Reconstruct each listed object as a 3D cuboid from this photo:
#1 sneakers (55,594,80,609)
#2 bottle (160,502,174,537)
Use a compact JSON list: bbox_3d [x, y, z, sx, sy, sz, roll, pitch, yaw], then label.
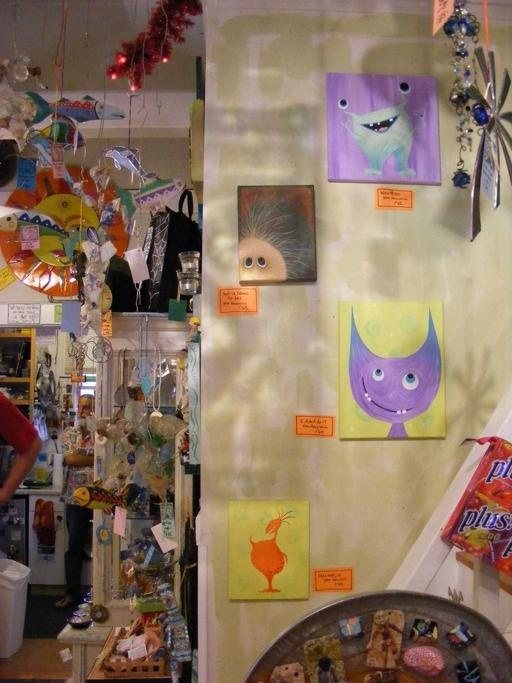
[{"bbox_3d":[-1.357,1.883,4.559,0.067,0.188,0.074,-4,77,30],"label":"sneakers"},{"bbox_3d":[-0.340,0.698,2.461,0.044,0.120,0.143,-1,81,2],"label":"bottle"}]
